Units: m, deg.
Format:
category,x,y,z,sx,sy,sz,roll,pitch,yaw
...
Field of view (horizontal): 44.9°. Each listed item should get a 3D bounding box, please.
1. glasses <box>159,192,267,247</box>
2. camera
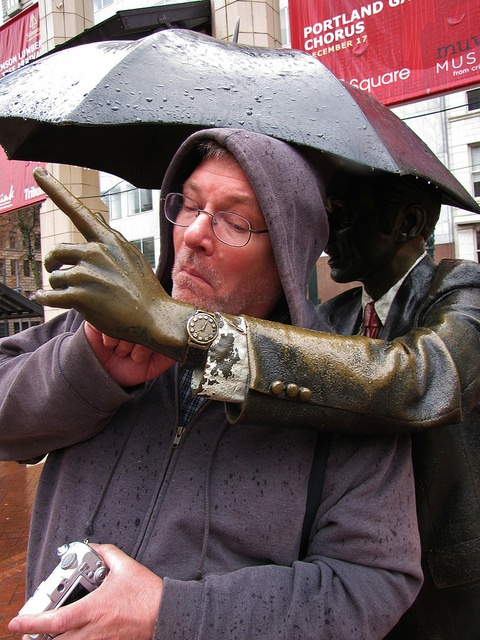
category,x,y,z,sx,sy,sz,roll,pitch,yaw
glasses,-0.063,-0.343,1.799,0.355,0.178,0.199,6,19,24
camera,-0.415,0.599,1.331,0.110,0.113,0.208,8,19,43
